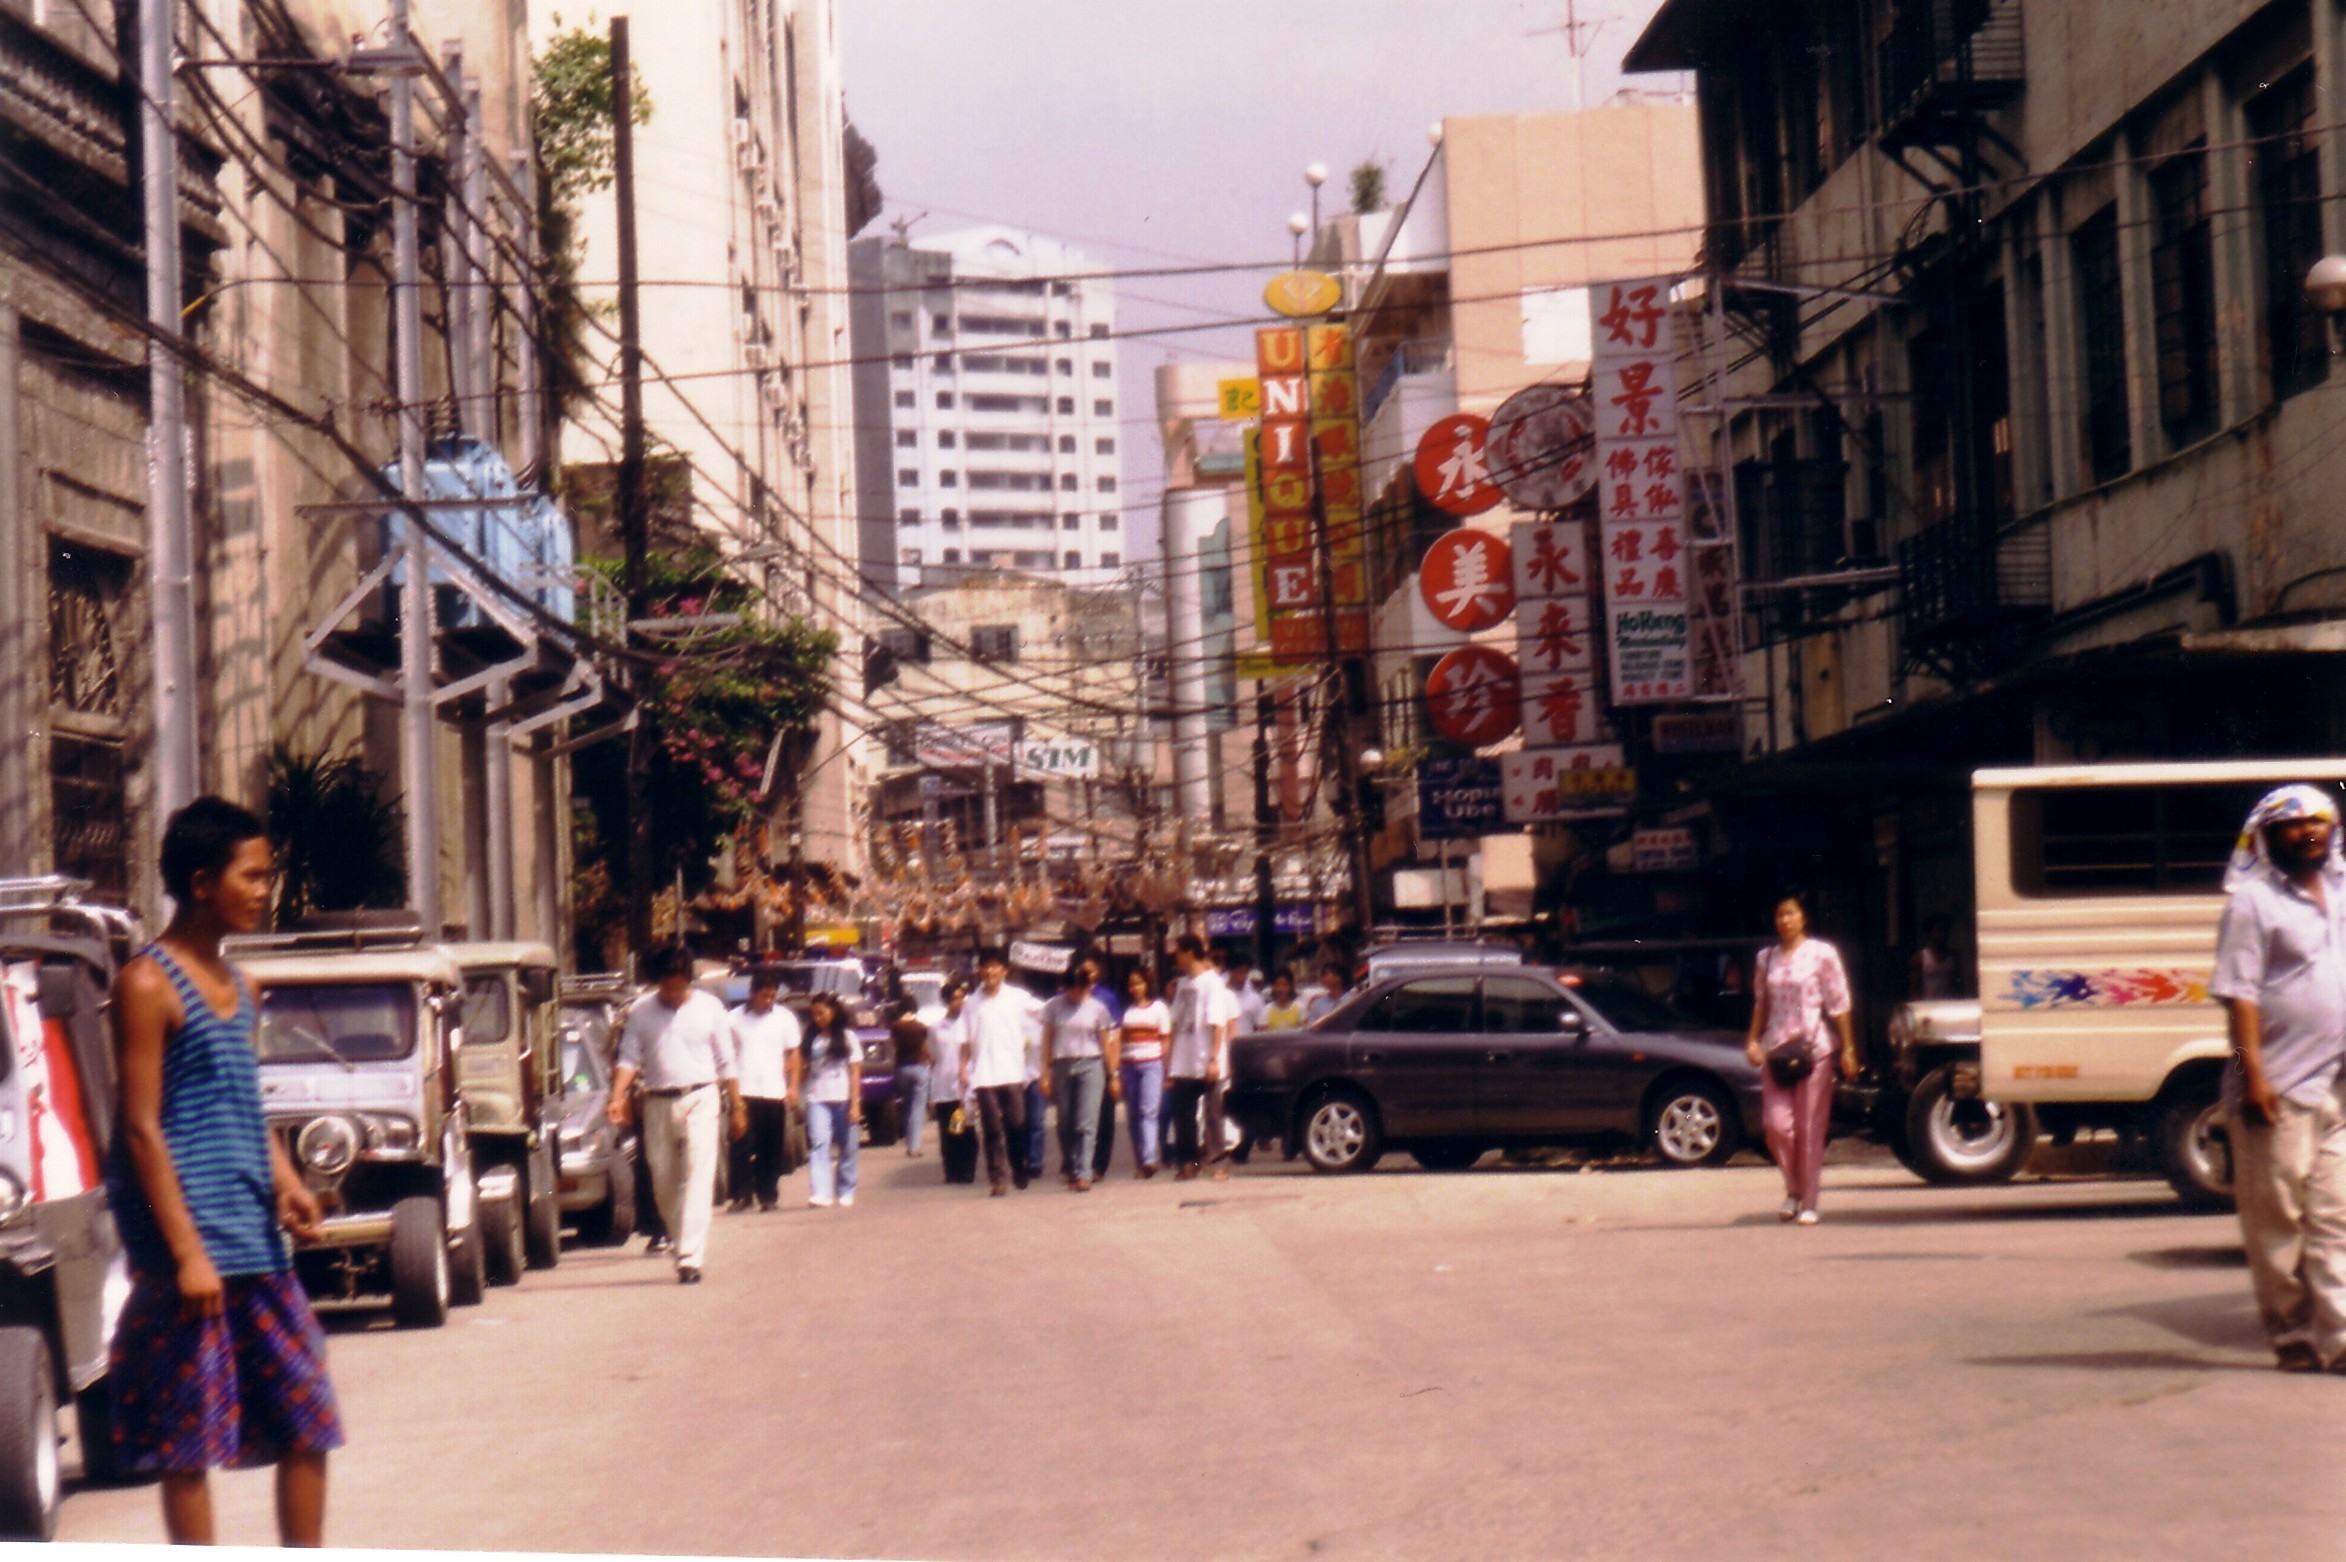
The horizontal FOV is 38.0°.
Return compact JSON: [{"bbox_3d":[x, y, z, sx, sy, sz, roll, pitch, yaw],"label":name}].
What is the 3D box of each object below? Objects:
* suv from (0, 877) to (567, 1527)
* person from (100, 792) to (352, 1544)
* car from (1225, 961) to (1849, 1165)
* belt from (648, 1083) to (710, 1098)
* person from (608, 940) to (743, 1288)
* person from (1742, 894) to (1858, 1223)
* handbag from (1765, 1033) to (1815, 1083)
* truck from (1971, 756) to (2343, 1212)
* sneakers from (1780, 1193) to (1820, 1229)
[{"bbox_3d":[-6.419,2.554,25.856,2.839,2.536,4.725,-1,-7,-3],"label":"suv"},{"bbox_3d":[-4.801,1.946,17.066,1.028,3.687,0.507,-2,-7,-17],"label":"person"},{"bbox_3d":[3.114,2.753,32.989,4.633,1.560,1.968,-2,-3,8],"label":"car"},{"bbox_3d":[-3.978,2.450,27.352,0.372,0.087,0.089,-3,-7,-6],"label":"belt"},{"bbox_3d":[-4.054,2.608,27.169,0.896,2.639,1.101,-5,-7,7],"label":"person"},{"bbox_3d":[5.104,2.221,27.642,0.807,2.619,1.468,-5,-7,10],"label":"person"},{"bbox_3d":[4.958,2.191,27.248,0.349,0.300,0.171,-9,-4,8],"label":"handbag"},{"bbox_3d":[7.321,1.284,27.691,3.648,2.622,2.364,0,-3,1],"label":"truck"},{"bbox_3d":[4.992,3.382,27.087,0.152,0.196,0.459,0,-10,4],"label":"sneakers"}]
